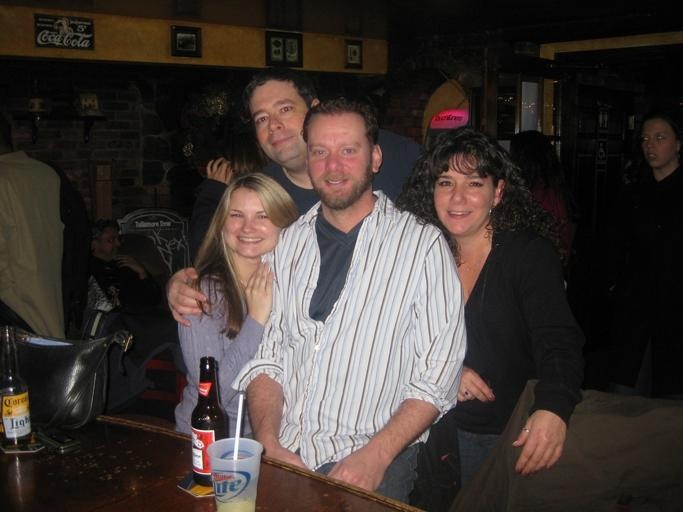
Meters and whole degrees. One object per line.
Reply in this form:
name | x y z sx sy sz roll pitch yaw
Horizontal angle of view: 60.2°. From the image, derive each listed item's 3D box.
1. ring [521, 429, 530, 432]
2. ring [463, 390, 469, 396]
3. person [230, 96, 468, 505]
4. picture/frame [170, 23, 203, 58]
ring | 0.658 0.619 2.108 0.017 0.011 0.017 28 -10 5
ring | 0.508 0.565 2.414 0.017 0.018 0.004 0 4 0
person | -0.013 0.088 2.254 0.765 1.390 0.651 8 8 42
picture/frame | -1.566 -2.142 5.847 0.372 0.353 0.037 -7 19 -34
